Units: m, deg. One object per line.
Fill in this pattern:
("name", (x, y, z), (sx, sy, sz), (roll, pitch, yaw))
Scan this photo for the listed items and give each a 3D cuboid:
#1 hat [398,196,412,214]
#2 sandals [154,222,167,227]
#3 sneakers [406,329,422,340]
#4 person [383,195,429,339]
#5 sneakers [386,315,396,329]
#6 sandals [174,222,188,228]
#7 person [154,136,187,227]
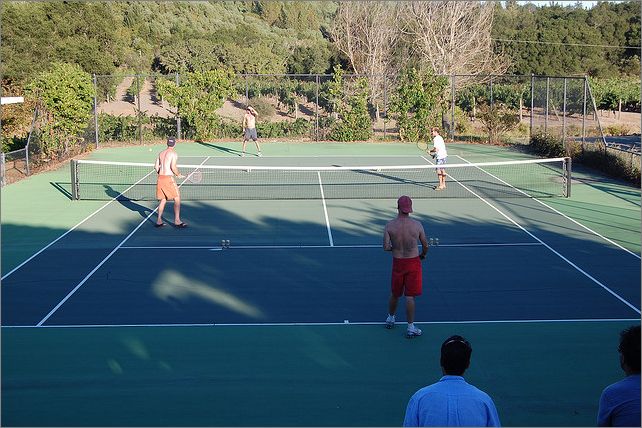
("hat", (1.422, -0.189, 10.030), (0.190, 0.159, 0.303), (-3, 34, -6))
("sandals", (-4.025, 0.259, 14.896), (0.266, 0.123, 0.099), (-10, 14, -19))
("sneakers", (1.561, 2.001, 9.987), (0.301, 0.208, 0.120), (-8, 8, -36))
("person", (1.428, 0.888, 10.026), (0.703, 2.320, 0.547), (2, 12, 10))
("sneakers", (1.219, 1.889, 10.310), (0.229, 0.269, 0.612), (0, 1, 6))
("sandals", (-3.508, 0.274, 14.814), (0.277, 0.085, 0.132), (-1, 1, 24))
("person", (-3.869, -0.841, 14.959), (0.721, 2.210, 1.414), (-4, 13, -16))
